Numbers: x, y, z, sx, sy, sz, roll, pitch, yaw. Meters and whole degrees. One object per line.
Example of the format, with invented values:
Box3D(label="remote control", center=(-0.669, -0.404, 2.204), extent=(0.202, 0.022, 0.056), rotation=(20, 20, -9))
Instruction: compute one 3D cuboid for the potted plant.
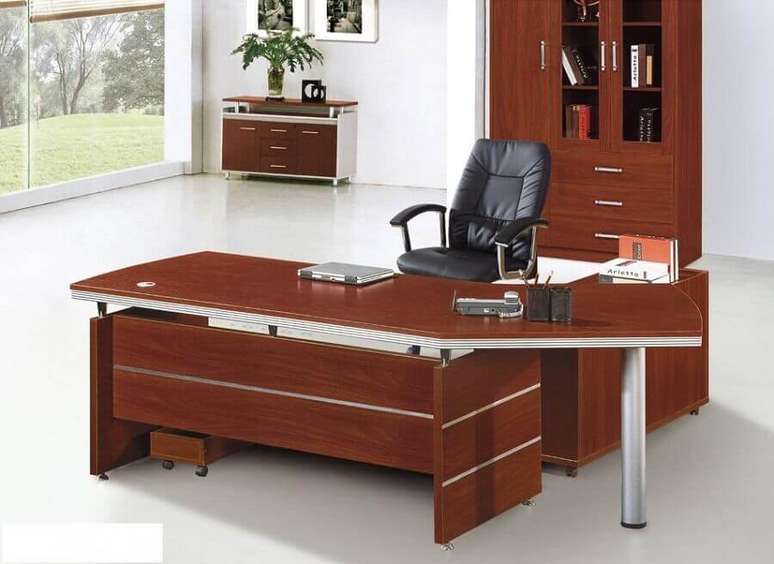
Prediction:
Box3D(label="potted plant", center=(-1.553, -3.386, 10.856), extent=(1.246, 0.827, 1.215), rotation=(2, 7, 12))

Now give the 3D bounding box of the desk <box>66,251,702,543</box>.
Box3D(label="desk", center=(-0.082, 0.460, 3.018), extent=(2.520, 0.884, 0.826), rotation=(5, 14, 21))

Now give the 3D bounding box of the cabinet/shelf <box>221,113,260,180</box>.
Box3D(label="cabinet/shelf", center=(-2.164, -2.131, 10.971), extent=(0.688, 0.823, 0.630), rotation=(7, 13, 17))

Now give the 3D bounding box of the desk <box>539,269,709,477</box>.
Box3D(label="desk", center=(1.176, 0.363, 3.604), extent=(1.211, 0.888, 0.380), rotation=(-7, 5, -39))

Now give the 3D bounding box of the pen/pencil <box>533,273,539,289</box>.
Box3D(label="pen/pencil", center=(0.689, -0.003, 3.256), extent=(0.009, 0.008, 0.076), rotation=(26, 47, -9))

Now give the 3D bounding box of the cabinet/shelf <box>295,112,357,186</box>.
Box3D(label="cabinet/shelf", center=(-0.855, -1.998, 10.432), extent=(0.899, 1.015, 0.455), rotation=(-2, 14, -7))

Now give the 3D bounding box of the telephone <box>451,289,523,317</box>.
Box3D(label="telephone", center=(0.387, 0.085, 2.658), extent=(0.265, 0.069, 0.143), rotation=(0, 13, 0))

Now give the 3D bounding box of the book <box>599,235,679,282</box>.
Box3D(label="book", center=(1.244, -0.097, 3.453), extent=(0.297, 0.194, 0.304), rotation=(8, 13, 40))
